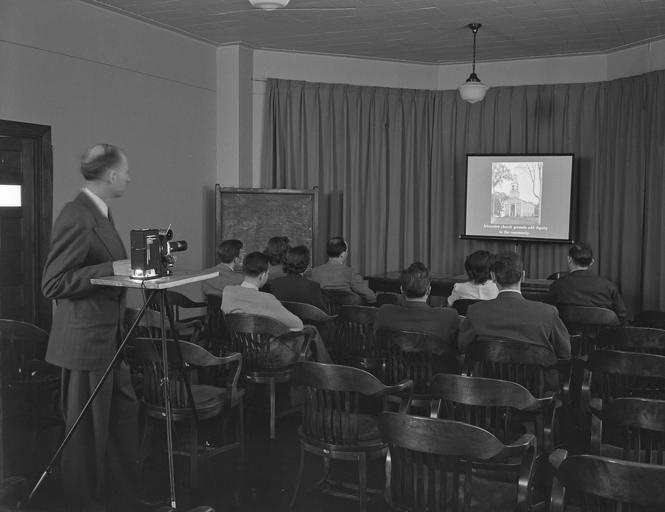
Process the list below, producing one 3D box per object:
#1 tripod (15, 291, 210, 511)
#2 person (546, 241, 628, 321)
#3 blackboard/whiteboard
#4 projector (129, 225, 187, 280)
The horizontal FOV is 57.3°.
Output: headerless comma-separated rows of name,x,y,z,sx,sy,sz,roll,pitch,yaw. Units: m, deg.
tripod,-1.056,0.638,2.992,0.673,1.060,0.680,1,2,-2
person,2.378,0.220,5.568,0.733,0.709,0.419,1,12,18
blackboard/whiteboard,-0.758,-0.307,6.716,0.926,0.915,0.065,0,6,-3
projector,-0.825,-0.009,2.801,0.189,0.225,0.169,0,3,-20
